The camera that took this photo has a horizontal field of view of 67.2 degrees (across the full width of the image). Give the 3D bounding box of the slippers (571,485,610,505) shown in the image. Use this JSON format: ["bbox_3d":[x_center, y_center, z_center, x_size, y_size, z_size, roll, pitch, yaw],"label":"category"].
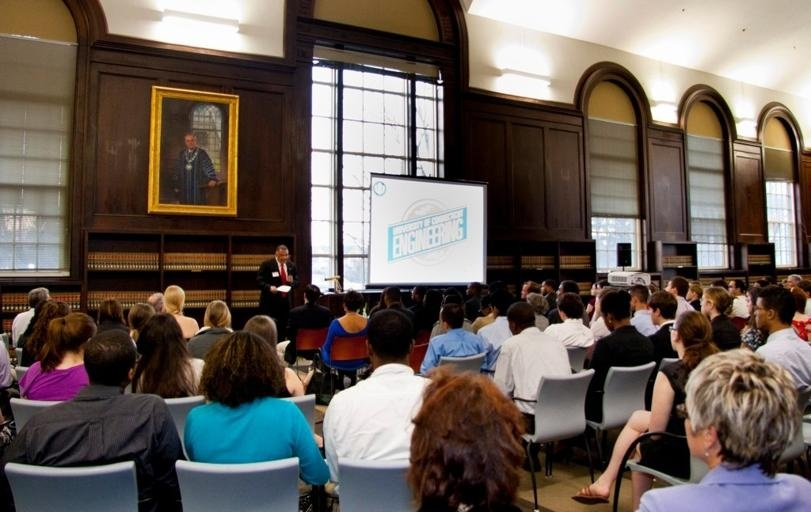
[{"bbox_3d":[1.742,2.245,5.764,0.286,0.109,0.164,-2,-8,11],"label":"slippers"}]

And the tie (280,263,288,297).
[{"bbox_3d":[-2.013,0.402,10.061,0.135,0.550,0.102,-1,-32,-8],"label":"tie"}]

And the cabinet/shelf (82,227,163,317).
[{"bbox_3d":[-4.490,0.234,9.510,1.368,1.465,0.420,0,-2,-26],"label":"cabinet/shelf"}]

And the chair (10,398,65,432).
[{"bbox_3d":[-3.191,1.347,5.184,0.373,0.283,0.241,-1,-3,34],"label":"chair"}]

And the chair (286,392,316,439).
[{"bbox_3d":[-0.912,1.407,5.399,0.200,0.379,0.335,0,-2,-12],"label":"chair"}]
